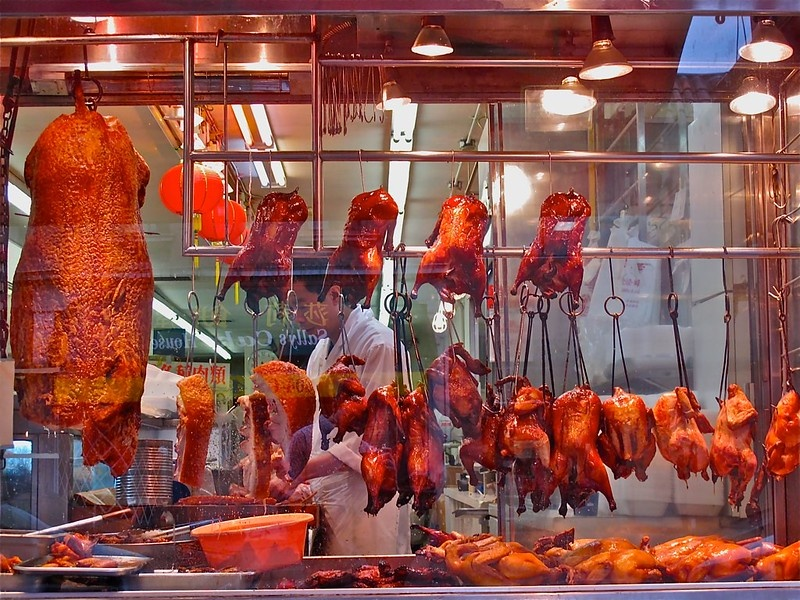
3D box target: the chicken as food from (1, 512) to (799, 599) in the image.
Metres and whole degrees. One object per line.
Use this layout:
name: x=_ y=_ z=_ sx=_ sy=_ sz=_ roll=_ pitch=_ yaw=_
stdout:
chicken as food: x=0.551 y=1.025 z=3.995 sx=2.072 sy=0.236 sz=0.748 roll=-2 pitch=-8 yaw=-5

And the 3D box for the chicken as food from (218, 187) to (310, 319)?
chicken as food: x=-0.575 y=-0.204 z=4.361 sx=0.375 sy=0.538 sz=0.102 roll=-2 pitch=-7 yaw=5

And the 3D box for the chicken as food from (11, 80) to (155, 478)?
chicken as food: x=-1.279 y=-0.102 z=4.199 sx=0.556 sy=1.620 sz=0.243 roll=1 pitch=-8 yaw=-17

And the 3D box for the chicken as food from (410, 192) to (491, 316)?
chicken as food: x=0.243 y=-0.179 z=4.428 sx=0.295 sy=0.498 sz=0.179 roll=11 pitch=-8 yaw=-13
